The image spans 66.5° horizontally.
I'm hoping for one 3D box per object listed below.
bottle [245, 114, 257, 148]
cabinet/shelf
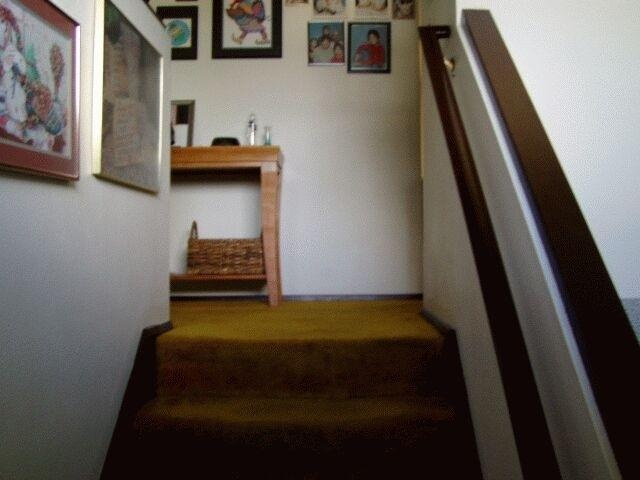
[{"bbox_3d":[-0.518,-0.842,3.698,0.084,0.255,0.243,2,6,-9],"label":"bottle"},{"bbox_3d":[-0.725,-0.202,3.916,0.836,1.232,1.176,0,2,0],"label":"cabinet/shelf"}]
